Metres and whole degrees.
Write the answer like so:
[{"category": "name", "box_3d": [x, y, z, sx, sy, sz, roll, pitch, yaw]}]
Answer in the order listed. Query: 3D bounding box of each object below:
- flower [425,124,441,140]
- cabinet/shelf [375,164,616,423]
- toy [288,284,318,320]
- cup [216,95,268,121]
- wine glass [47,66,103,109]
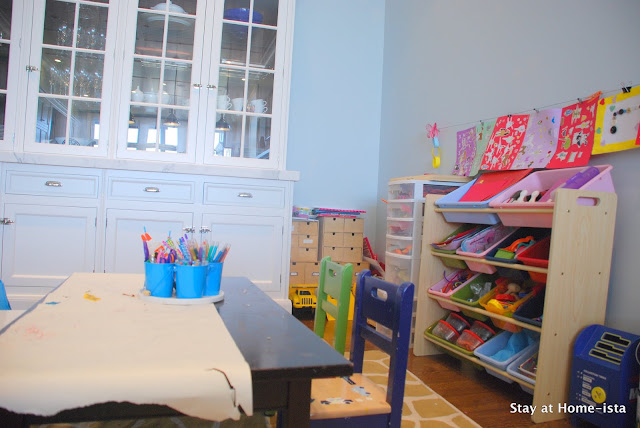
[{"category": "flower", "box_3d": [0.973, -0.718, 3.878, 0.055, 0.138, 0.128, 0, 8, -18]}, {"category": "cabinet/shelf", "box_3d": [1.052, 0.486, 2.584, 0.597, 1.319, 1.431, 2, 3, -19]}, {"category": "toy", "box_3d": [-0.137, 0.747, 3.863, 0.228, 0.183, 0.301, 1, -6, -6]}, {"category": "cup", "box_3d": [-0.618, -0.830, 3.582, 0.293, 0.107, 0.182, 1, -2, -22]}, {"category": "wine glass", "box_3d": [-1.812, -0.927, 3.362, 0.278, 0.287, 0.268, 2, 1, -4]}]
